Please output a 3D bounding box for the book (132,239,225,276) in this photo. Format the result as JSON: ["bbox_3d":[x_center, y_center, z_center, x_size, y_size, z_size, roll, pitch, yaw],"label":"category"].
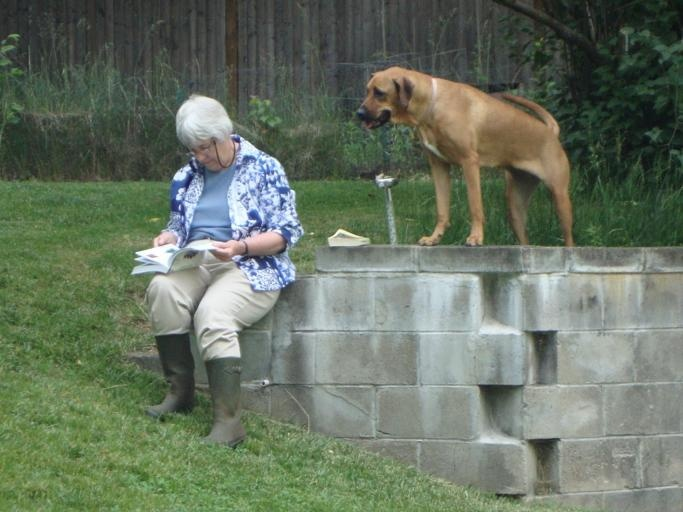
[{"bbox_3d":[-1.608,0.010,14.618,0.779,0.293,0.309,-1,2,-7],"label":"book"}]

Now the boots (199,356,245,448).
[{"bbox_3d":[-1.113,1.373,14.518,0.380,0.841,0.252,-1,2,-5],"label":"boots"}]

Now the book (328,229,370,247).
[{"bbox_3d":[0.046,-0.171,15.210,0.293,0.136,0.194,3,0,2],"label":"book"}]

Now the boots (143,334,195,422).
[{"bbox_3d":[-1.592,1.126,14.735,0.623,1.176,0.503,1,-1,-13],"label":"boots"}]

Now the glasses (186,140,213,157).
[{"bbox_3d":[-1.366,-1.051,14.764,0.261,0.143,0.123,0,2,22],"label":"glasses"}]
